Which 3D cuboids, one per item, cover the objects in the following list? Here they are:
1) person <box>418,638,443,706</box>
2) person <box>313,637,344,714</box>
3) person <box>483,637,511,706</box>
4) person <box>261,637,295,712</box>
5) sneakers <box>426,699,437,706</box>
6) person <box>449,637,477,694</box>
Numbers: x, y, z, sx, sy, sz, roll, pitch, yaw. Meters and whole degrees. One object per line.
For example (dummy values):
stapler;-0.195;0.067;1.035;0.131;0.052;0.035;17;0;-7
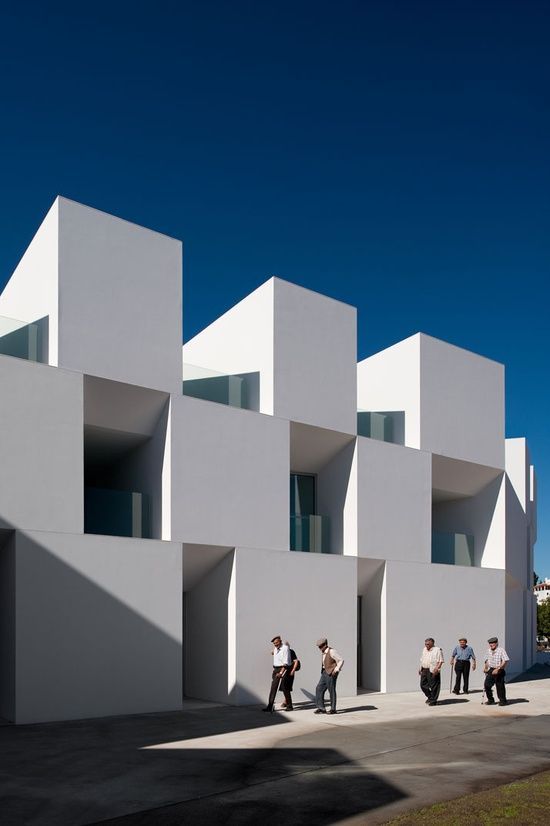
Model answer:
person;2.717;4.492;17.478;0.368;1.136;1.010;-2;-13;9
person;0.853;4.189;15.981;0.401;1.168;1.167;0;-13;2
person;3.990;4.676;18.232;0.399;1.203;2.805;-2;-15;12
person;0.067;4.153;16.083;0.415;1.180;1.399;0;-14;1
sneakers;2.652;4.909;17.033;0.063;0.072;0.126;6;-5;-19
person;3.513;4.736;18.730;0.401;1.103;0.293;0;-38;13
